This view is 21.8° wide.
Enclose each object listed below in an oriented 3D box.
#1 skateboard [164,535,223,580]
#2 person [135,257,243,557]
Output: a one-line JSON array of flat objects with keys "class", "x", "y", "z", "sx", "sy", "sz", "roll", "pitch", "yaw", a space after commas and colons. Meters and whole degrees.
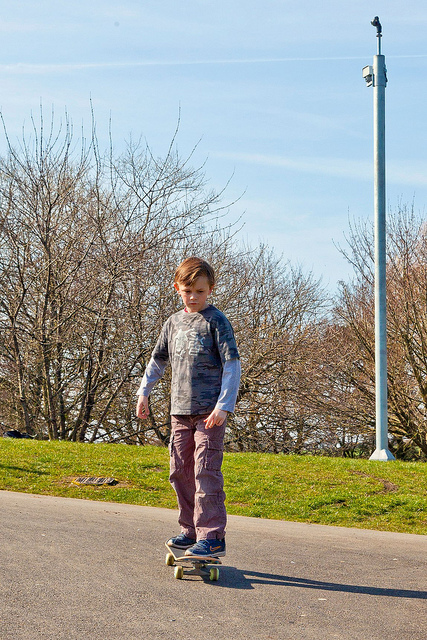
[{"class": "skateboard", "x": -0.142, "y": 1.546, "z": 7.191, "sx": 0.360, "sy": 0.199, "sz": 0.522, "roll": 1, "pitch": -6, "yaw": -3}, {"class": "person", "x": -0.150, "y": 0.556, "z": 7.558, "sx": 0.403, "sy": 1.971, "sz": 0.749, "roll": 4, "pitch": -6, "yaw": -37}]
